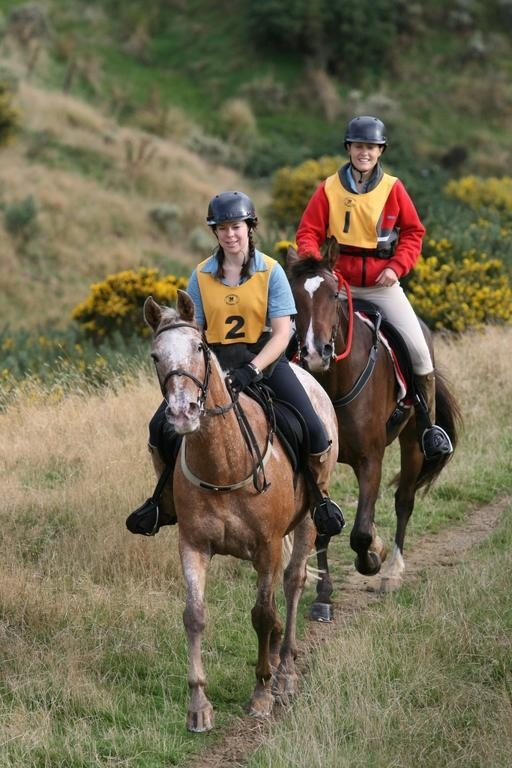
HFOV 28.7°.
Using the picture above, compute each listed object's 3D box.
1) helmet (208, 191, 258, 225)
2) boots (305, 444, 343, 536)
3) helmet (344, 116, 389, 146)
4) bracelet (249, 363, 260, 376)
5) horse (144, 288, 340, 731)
[{"bbox_3d":[-0.124,-0.932,5.389,0.190,0.176,0.232,-3,14,15],"label":"helmet"},{"bbox_3d":[0.350,0.649,6.004,0.298,0.465,0.190,1,-12,-39],"label":"boots"},{"bbox_3d":[0.749,-1.742,6.888,0.281,0.208,0.305,1,8,4],"label":"helmet"},{"bbox_3d":[-0.007,-0.082,5.228,0.024,0.061,0.046,-40,19,4],"label":"bracelet"},{"bbox_3d":[-0.126,0.640,5.330,0.606,2.294,1.737,3,8,16],"label":"horse"}]
